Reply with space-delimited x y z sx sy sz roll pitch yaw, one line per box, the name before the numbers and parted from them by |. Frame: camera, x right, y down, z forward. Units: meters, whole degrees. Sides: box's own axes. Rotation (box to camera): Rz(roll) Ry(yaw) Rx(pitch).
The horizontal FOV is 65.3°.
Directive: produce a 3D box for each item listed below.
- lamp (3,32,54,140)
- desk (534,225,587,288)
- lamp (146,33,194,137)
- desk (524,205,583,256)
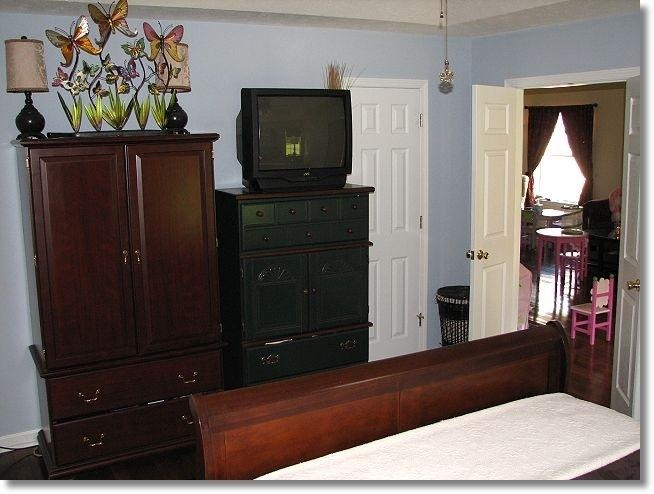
lamp | -1.891 -1.004 3.231 0.224 0.658 0.411 -5 9 -31
desk | 3.292 0.157 7.287 0.604 0.793 1.167 6 11 39
lamp | -1.131 -1.182 3.678 0.270 0.741 0.494 -2 8 -13
desk | 3.879 -0.446 8.910 0.969 0.905 0.967 -8 12 -39
